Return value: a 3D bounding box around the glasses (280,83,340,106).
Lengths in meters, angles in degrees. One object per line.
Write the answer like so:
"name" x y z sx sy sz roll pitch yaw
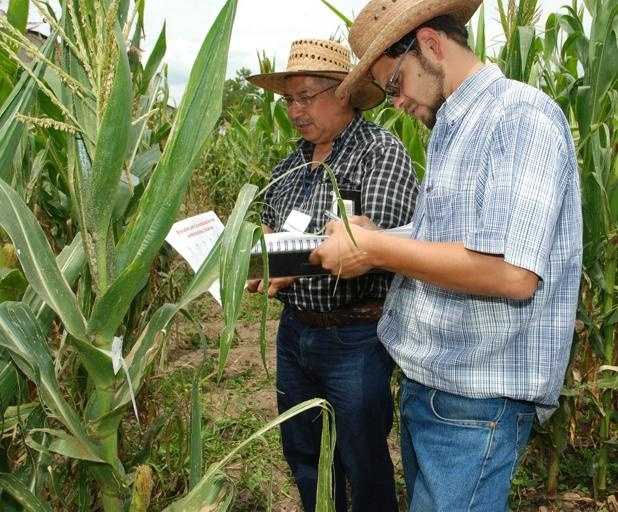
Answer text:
"glasses" 0.012 -0.731 2.466 0.155 0.053 0.123 -29 16 -32

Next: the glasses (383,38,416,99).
"glasses" 0.263 -0.560 1.659 0.031 0.124 0.110 20 10 0

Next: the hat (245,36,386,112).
"hat" 0.055 -0.876 2.650 0.701 0.287 0.800 4 10 -11
